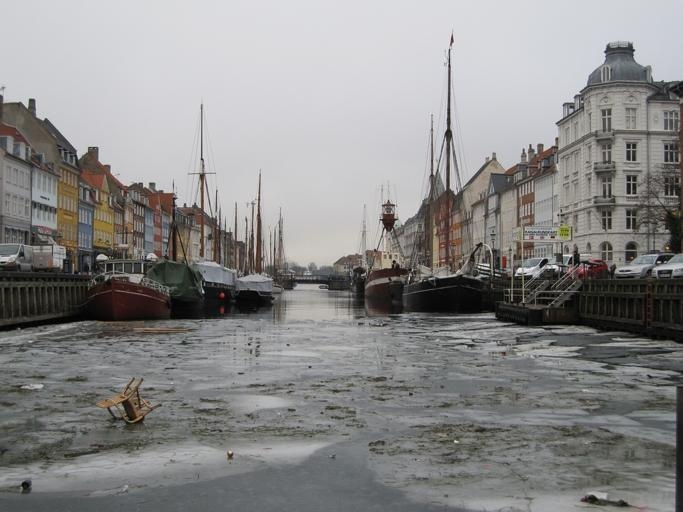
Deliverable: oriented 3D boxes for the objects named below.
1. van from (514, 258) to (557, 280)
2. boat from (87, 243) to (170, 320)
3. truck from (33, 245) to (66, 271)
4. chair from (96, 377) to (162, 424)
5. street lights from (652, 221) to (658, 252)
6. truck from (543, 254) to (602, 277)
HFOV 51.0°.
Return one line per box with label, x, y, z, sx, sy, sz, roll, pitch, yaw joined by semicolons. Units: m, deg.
van;13.478;0.716;50.930;2.175;1.834;3.544;-6;-10;43
boat;-12.921;1.909;43.626;4.830;3.962;6.917;2;-5;-15
truck;-19.389;0.026;46.892;0.977;1.818;5.062;1;-5;-3
chair;-3.878;2.646;12.997;0.619;0.750;1.021;-4;7;45
street lights;31.971;-1.861;72.881;0.563;2.476;0.688;0;-5;10
truck;14.918;0.186;45.191;4.000;1.906;2.212;5;-8;-27
